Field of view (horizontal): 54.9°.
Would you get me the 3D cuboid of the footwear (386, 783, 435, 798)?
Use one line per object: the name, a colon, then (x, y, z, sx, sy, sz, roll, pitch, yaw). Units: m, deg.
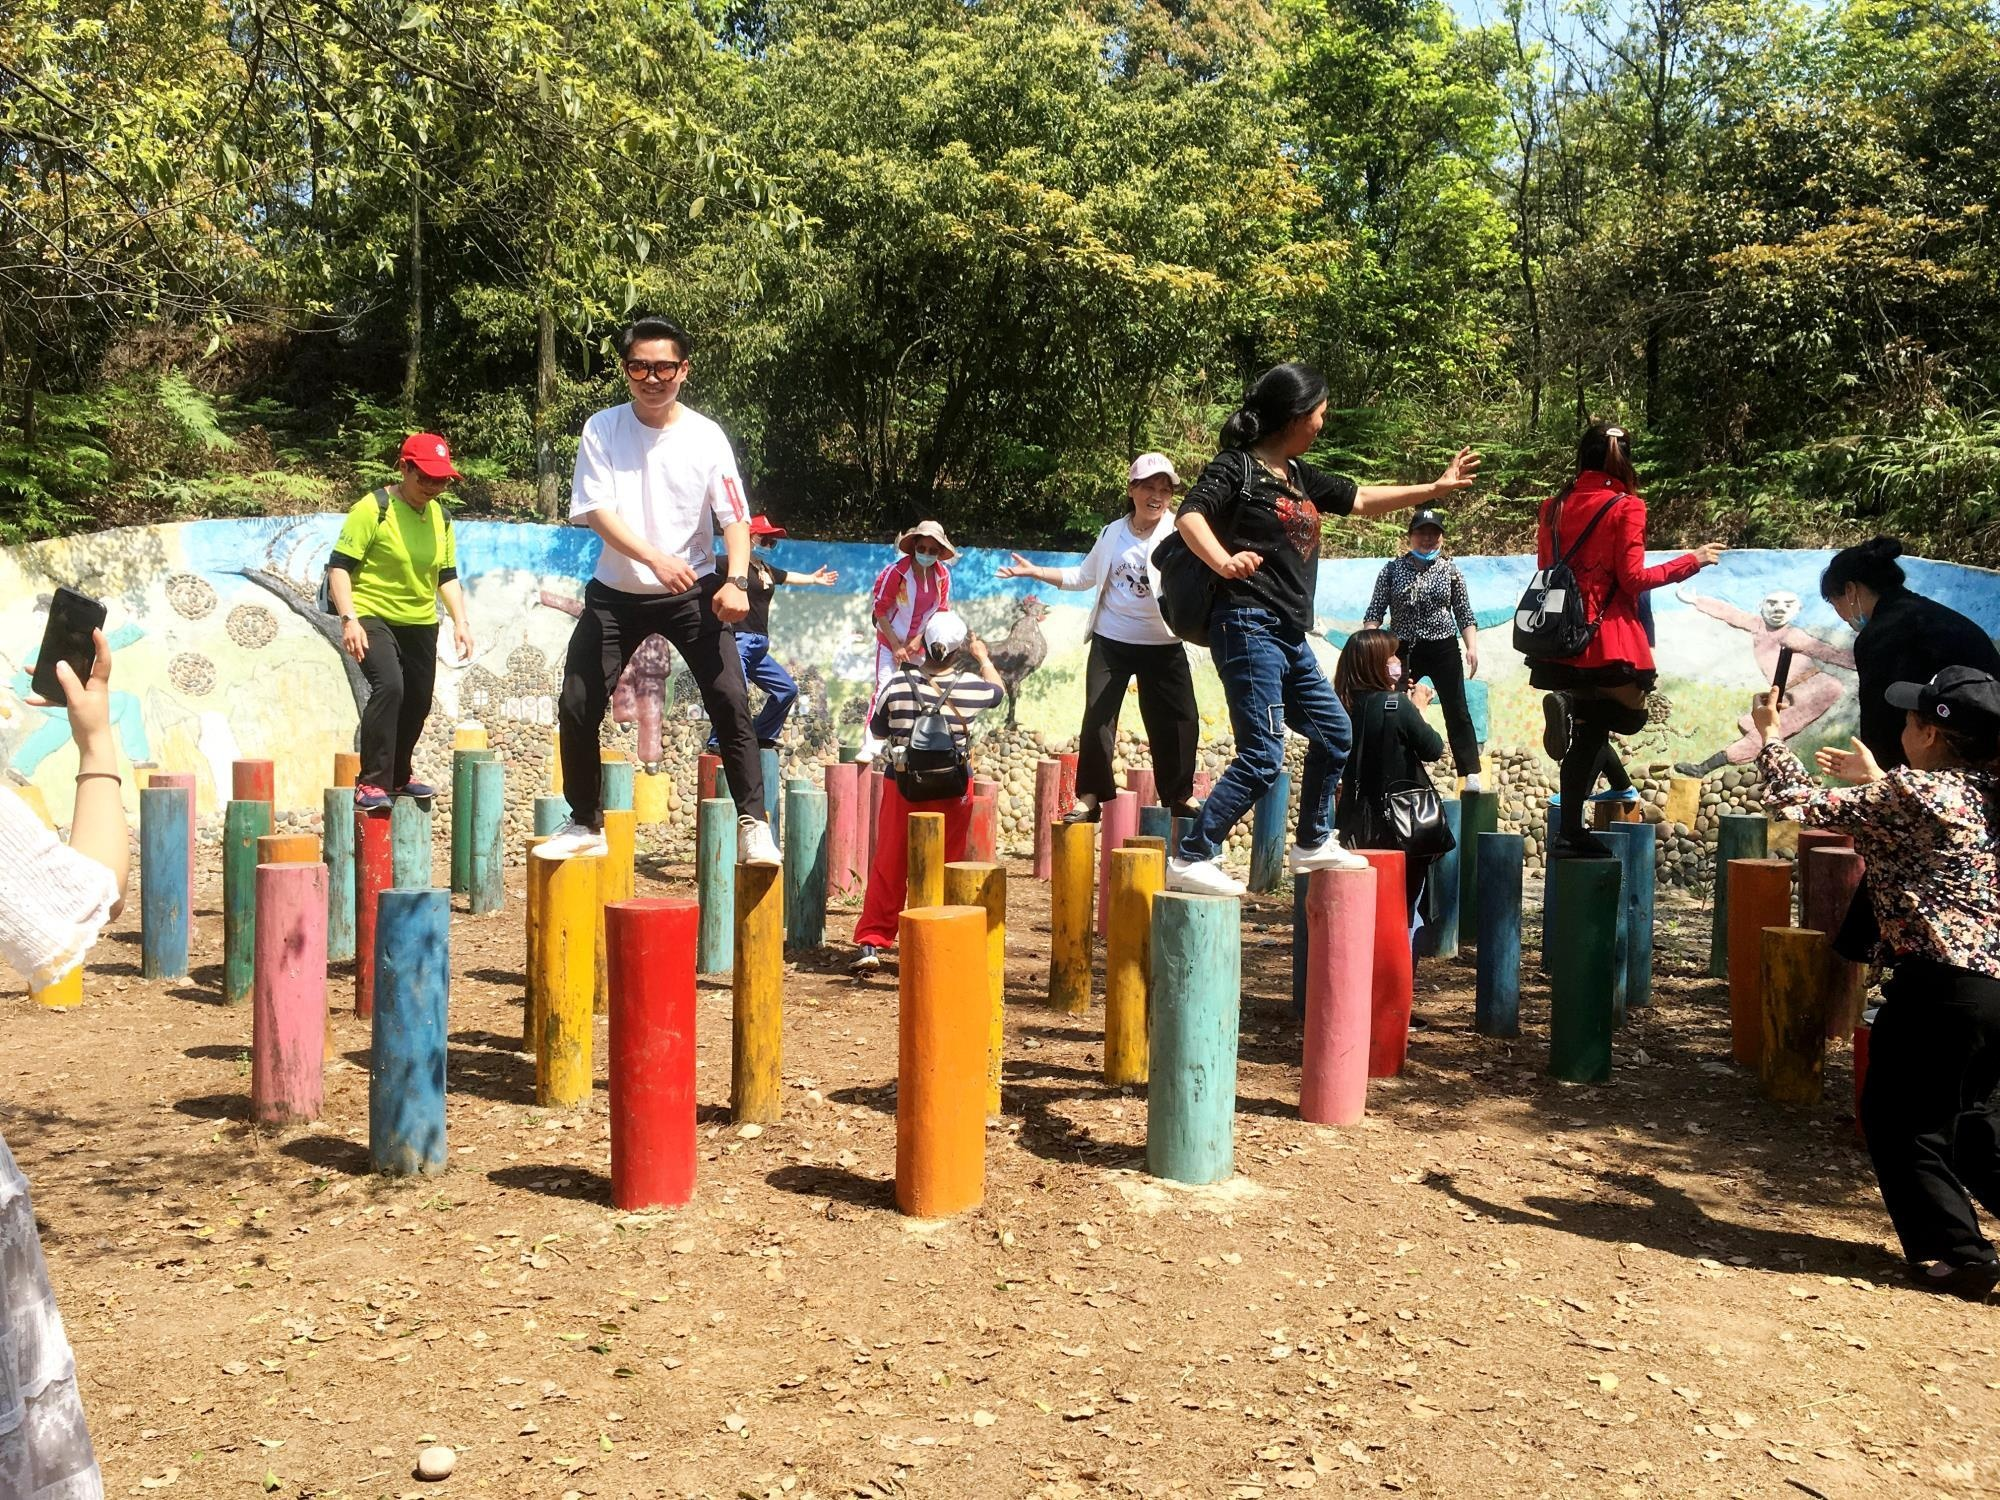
footwear: (-3.453, 0.260, 11.289, 0.225, 0.096, 0.091, -1, 3, -5)

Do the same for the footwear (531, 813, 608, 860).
footwear: (-1.902, 0.423, 8.546, 0.317, 0.151, 0.135, 5, -7, -39)

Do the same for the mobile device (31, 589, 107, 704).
mobile device: (-2.859, -0.311, 5.904, 0.193, 0.343, 0.347, -1, 4, -27)
